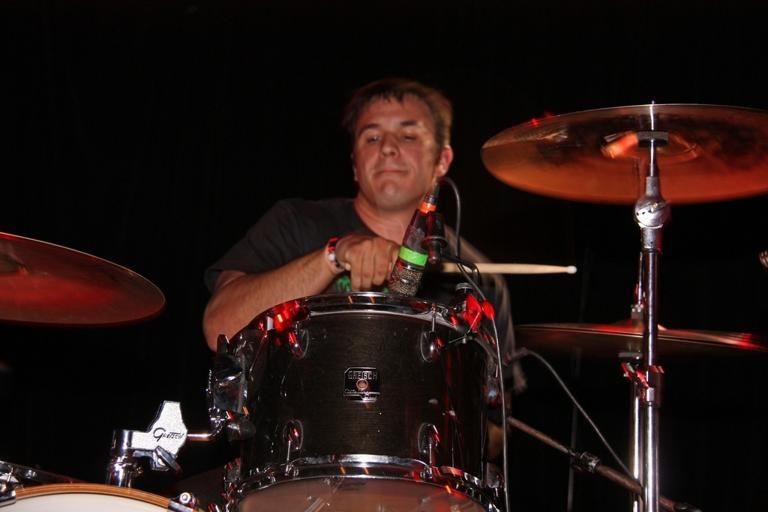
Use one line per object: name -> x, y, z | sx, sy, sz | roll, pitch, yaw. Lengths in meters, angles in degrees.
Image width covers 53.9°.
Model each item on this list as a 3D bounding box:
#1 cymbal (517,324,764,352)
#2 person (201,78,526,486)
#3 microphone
cymbal -> 0.976, 0.319, 2.967 | 0.917, 0.116, 0.475 | -2, -8, 15
person -> 0.032, 0.162, 3.457 | 1.525, 1.739, 1.194 | 4, -2, -27
microphone -> 0.101, -0.052, 2.610 | 0.173, 0.400, 0.225 | 0, -7, 1
